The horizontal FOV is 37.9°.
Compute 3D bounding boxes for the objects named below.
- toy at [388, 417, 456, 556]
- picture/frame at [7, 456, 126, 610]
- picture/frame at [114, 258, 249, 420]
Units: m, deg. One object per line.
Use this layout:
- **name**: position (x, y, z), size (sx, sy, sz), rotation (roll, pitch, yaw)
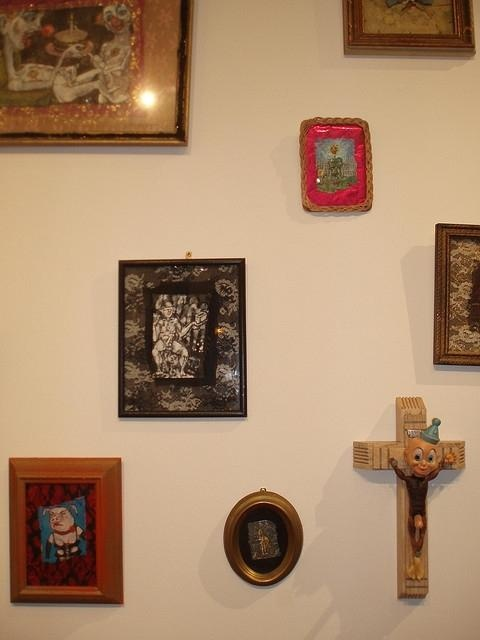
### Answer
- **toy**: position (0.540, 0.490, 2.056), size (0.184, 0.410, 0.096), rotation (-2, 2, 18)
- **picture/frame**: position (-0.519, 0.656, 2.099), size (0.422, 0.533, 0.054), rotation (-1, -5, -1)
- **picture/frame**: position (-0.172, 0.073, 2.135), size (0.476, 0.613, 0.025), rotation (0, -4, 5)
